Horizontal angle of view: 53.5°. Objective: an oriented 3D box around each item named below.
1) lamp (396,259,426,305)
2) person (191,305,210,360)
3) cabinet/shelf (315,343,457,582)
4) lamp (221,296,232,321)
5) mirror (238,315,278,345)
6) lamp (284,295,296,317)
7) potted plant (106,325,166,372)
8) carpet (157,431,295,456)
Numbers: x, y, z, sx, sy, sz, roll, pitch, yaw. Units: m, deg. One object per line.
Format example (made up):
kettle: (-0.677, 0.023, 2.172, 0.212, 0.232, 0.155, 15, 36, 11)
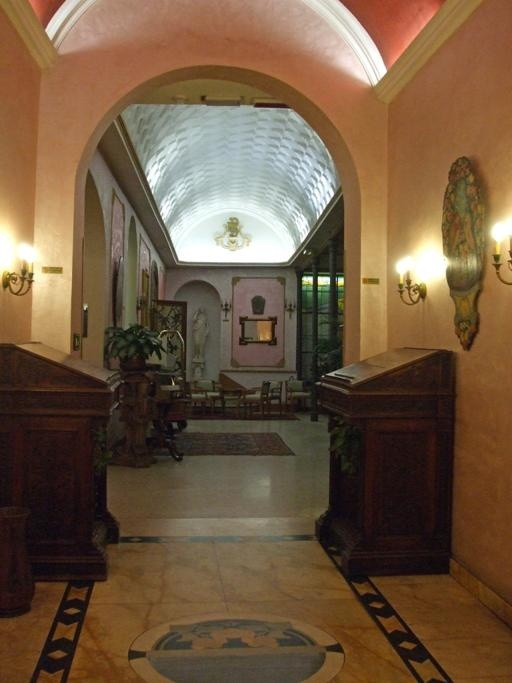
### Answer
lamp: (1.331, -0.535, 4.408, 0.201, 0.459, 0.556, 2, -3, 10)
person: (-2.114, -0.240, 19.178, 0.623, 2.091, 0.589, 3, -3, -8)
cabinet/shelf: (0.973, 0.856, 3.943, 0.810, 1.601, 0.879, 2, -3, -6)
lamp: (-1.082, -1.104, 18.568, 0.359, 0.759, 0.105, 3, -3, -17)
mirror: (0.130, -0.396, 18.416, 1.061, 0.871, 0.085, 0, -1, 6)
lamp: (1.213, -1.165, 18.343, 0.394, 0.700, 0.148, 3, -3, -9)
potted plant: (-1.841, 0.075, 7.592, 0.778, 0.587, 0.790, 2, -8, -4)
carpet: (-0.441, 1.905, 9.529, 2.055, 0.030, 2.634, 3, -2, -8)
